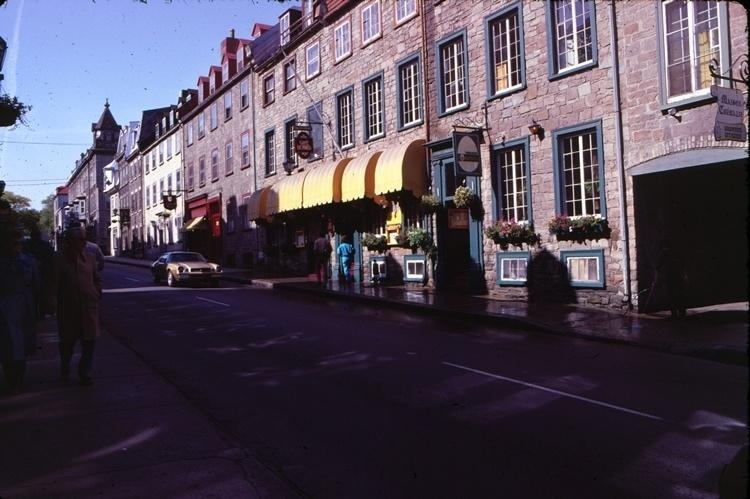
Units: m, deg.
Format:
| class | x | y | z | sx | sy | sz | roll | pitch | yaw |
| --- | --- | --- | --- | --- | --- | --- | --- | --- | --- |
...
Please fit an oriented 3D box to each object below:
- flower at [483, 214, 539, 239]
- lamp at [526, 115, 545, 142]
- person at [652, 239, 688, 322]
| class | x | y | z | sx | sy | sz | roll | pitch | yaw |
| --- | --- | --- | --- | --- | --- | --- | --- | --- | --- |
| flower | 3.800 | -0.448 | 17.790 | 0.341 | 0.642 | 1.596 | -6 | 8 | -40 |
| lamp | 4.343 | -3.223 | 17.255 | 0.213 | 0.630 | 0.507 | -4 | 7 | -29 |
| person | 6.709 | 0.760 | 14.404 | 0.540 | 1.480 | 0.685 | -1 | 6 | 4 |
